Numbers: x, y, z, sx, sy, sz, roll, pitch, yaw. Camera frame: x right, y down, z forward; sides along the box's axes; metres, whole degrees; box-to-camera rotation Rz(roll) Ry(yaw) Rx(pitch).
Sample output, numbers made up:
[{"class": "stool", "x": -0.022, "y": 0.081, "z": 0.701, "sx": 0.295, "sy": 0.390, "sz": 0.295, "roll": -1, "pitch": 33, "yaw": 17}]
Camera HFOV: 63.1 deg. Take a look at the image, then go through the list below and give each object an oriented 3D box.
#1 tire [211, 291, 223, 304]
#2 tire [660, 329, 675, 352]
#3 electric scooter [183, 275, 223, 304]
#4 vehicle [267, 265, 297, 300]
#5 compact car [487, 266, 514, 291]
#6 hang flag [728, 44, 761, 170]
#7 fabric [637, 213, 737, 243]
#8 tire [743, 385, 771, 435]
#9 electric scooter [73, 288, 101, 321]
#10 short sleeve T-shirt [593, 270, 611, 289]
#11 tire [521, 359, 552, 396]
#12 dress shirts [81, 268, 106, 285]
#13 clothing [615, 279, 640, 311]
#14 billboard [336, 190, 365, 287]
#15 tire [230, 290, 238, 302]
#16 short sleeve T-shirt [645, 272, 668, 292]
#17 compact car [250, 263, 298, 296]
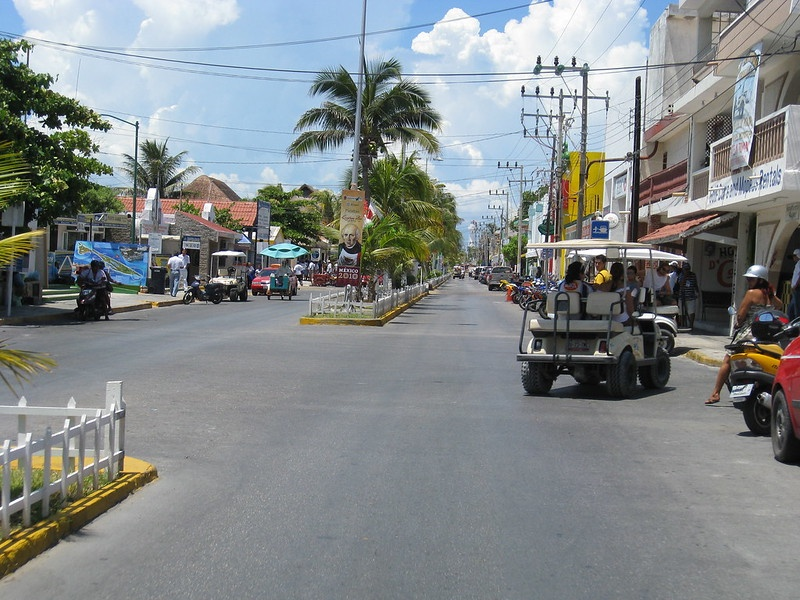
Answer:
[{"class": "tire", "x": -9.718, "y": -0.196, "z": 34.406, "sx": 0.540, "sy": 0.663, "sz": 0.230, "roll": 3, "pitch": -1, "yaw": -5}, {"class": "tire", "x": 6.185, "y": 0.910, "z": 15.151, "sx": 0.453, "sy": 0.555, "sz": 0.192, "roll": -4, "pitch": 9, "yaw": 8}, {"class": "electric scooter", "x": -10.439, "y": -0.536, "z": 34.728, "sx": 2.187, "sy": 1.634, "sz": 1.276, "roll": 4, "pitch": -3, "yaw": -16}, {"class": "vehicle", "x": -7.449, "y": -1.119, "z": 41.368, "sx": 1.158, "sy": 1.510, "sz": 2.801, "roll": 0, "pitch": -2, "yaw": 2}, {"class": "compact car", "x": 9.878, "y": -2.118, "z": 65.141, "sx": 1.881, "sy": 2.125, "sz": 3.771, "roll": 0, "pitch": 10, "yaw": 5}, {"class": "hang flag", "x": 10.878, "y": -6.052, "z": 20.548, "sx": 0.653, "sy": 3.937, "sz": 2.377, "roll": 2, "pitch": 3, "yaw": 18}, {"class": "fabric", "x": 11.812, "y": -2.990, "z": 26.644, "sx": 1.061, "sy": 0.674, "sz": 2.575, "roll": -19, "pitch": -3, "yaw": -3}, {"class": "tire", "x": 4.722, "y": 1.477, "z": 8.631, "sx": 0.302, "sy": 0.600, "sz": 0.247, "roll": 3, "pitch": 3, "yaw": 31}, {"class": "electric scooter", "x": -11.043, "y": 0.116, "z": 23.107, "sx": 0.762, "sy": 1.117, "sz": 0.640, "roll": 0, "pitch": 3, "yaw": -30}, {"class": "short sleeve T-shirt", "x": 3.828, "y": -0.494, "z": 12.370, "sx": 0.251, "sy": 0.446, "sz": 0.520, "roll": 5, "pitch": 5, "yaw": 25}, {"class": "tire", "x": 2.455, "y": 1.362, "z": 11.474, "sx": 0.698, "sy": 0.576, "sz": 0.288, "roll": 0, "pitch": 3, "yaw": -31}, {"class": "dress shirts", "x": -11.023, "y": -0.844, "z": 23.311, "sx": 0.586, "sy": 0.700, "sz": 0.293, "roll": 7, "pitch": 2, "yaw": -7}, {"class": "clothing", "x": 4.267, "y": -0.088, "z": 12.284, "sx": 0.587, "sy": 0.729, "sz": 0.529, "roll": 4, "pitch": -4, "yaw": -44}, {"class": "billboard", "x": -2.080, "y": -2.645, "z": 27.106, "sx": 1.028, "sy": 3.960, "sz": 0.789, "roll": 1, "pitch": 2, "yaw": -8}, {"class": "tire", "x": -9.264, "y": -0.296, "z": 36.220, "sx": 0.223, "sy": 0.616, "sz": 0.556, "roll": -1, "pitch": -1, "yaw": 2}, {"class": "short sleeve T-shirt", "x": 7.258, "y": -0.520, "z": 18.482, "sx": 0.672, "sy": 0.622, "sz": 0.360, "roll": 1, "pitch": 0, "yaw": -30}, {"class": "compact car", "x": -9.226, "y": -1.376, "z": 44.473, "sx": 1.578, "sy": 1.678, "sz": 3.678, "roll": -1, "pitch": -3, "yaw": 3}]
